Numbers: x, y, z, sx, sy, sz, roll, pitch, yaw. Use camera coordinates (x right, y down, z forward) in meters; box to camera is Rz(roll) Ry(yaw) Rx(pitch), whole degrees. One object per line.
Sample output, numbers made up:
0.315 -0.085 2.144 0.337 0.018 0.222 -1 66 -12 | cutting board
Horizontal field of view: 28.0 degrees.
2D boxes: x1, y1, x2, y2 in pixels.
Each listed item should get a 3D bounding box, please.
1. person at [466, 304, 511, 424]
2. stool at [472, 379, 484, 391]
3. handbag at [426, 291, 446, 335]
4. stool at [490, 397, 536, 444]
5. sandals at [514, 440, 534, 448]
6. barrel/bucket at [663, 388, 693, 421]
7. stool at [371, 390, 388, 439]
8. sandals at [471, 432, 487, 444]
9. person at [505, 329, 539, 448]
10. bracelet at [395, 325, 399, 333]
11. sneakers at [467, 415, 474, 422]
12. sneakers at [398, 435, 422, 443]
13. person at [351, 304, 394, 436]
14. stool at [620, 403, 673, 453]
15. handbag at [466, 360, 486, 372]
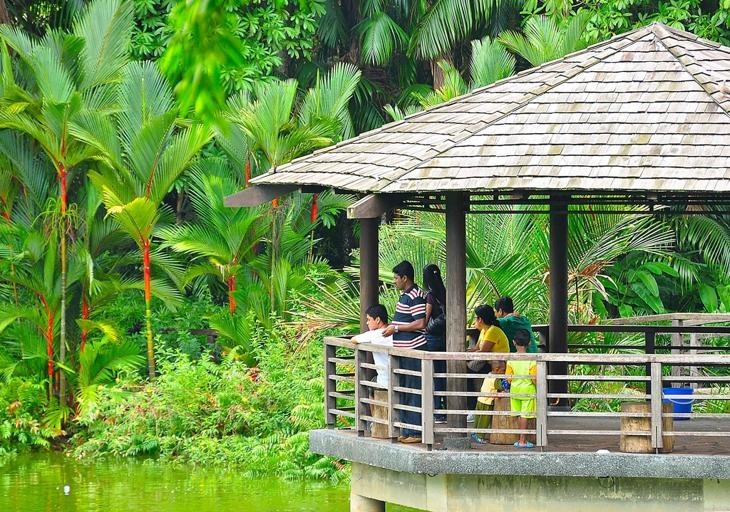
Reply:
1.774 1.432 21.022 0.708 1.495 0.555 1 21 17 | person
1.677 1.880 21.752 0.196 0.237 0.196 1 -9 -9 | stool
1.049 0.826 21.465 0.306 0.649 0.432 -6 7 11 | handbag
2.039 2.230 20.226 0.537 0.656 0.624 0 -9 0 | stool
2.192 2.566 20.137 0.180 0.089 0.117 -1 2 -1 | sandals
4.564 2.078 21.284 0.527 0.484 0.548 -1 -6 0 | barrel/bucket
0.171 2.237 20.842 0.231 0.676 0.248 -2 -8 -12 | stool
1.598 2.521 20.497 0.266 0.231 0.096 -1 1 0 | sandals
2.180 1.824 20.111 0.434 1.538 0.851 -7 7 5 | person
0.459 0.999 20.636 0.043 0.075 0.073 -1 -4 8 | bracelet
1.532 2.318 21.225 0.101 0.129 0.277 0 -13 4 | sneakers
0.634 2.525 20.504 0.310 0.103 0.213 -9 7 7 | sneakers
0.164 1.542 20.875 0.633 1.749 0.513 -7 9 -44 | person
3.776 2.318 19.830 0.616 0.670 0.651 -1 -7 -1 | stool
1.589 1.545 20.966 0.227 0.200 0.208 19 11 33 | handbag
